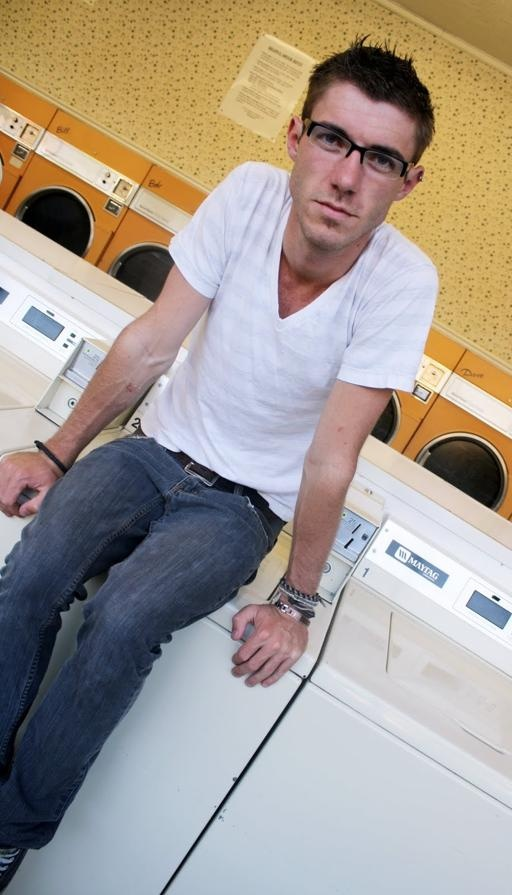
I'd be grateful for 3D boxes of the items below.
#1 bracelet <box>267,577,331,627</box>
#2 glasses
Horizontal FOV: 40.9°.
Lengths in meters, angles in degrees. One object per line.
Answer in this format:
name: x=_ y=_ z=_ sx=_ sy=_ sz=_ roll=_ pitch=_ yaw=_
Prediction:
bracelet: x=0.065 y=0.256 z=1.172 sx=0.093 sy=0.051 sz=0.082 roll=39 pitch=5 yaw=16
glasses: x=0.153 y=-0.457 z=1.052 sx=0.164 sy=0.051 sz=0.050 roll=15 pitch=30 yaw=3
